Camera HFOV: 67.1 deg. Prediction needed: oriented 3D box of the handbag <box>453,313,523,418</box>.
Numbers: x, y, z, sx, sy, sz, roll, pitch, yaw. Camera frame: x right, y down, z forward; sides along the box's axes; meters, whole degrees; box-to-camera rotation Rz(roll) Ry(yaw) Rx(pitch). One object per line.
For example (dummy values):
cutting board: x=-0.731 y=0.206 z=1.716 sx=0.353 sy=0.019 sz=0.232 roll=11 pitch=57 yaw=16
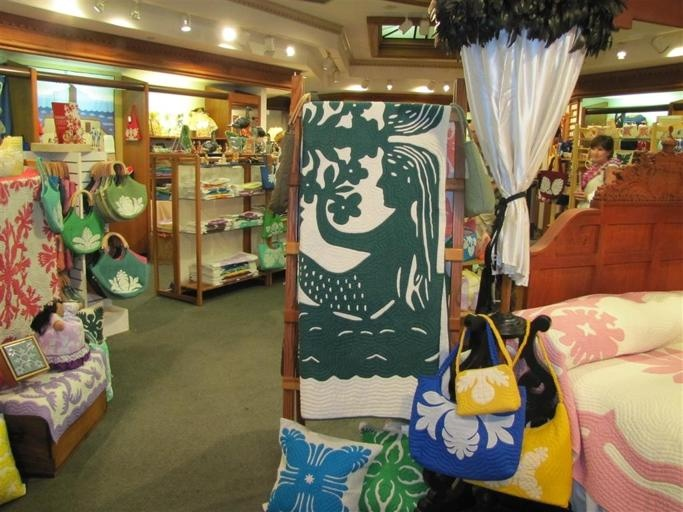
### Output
handbag: x=0.724 y=0.557 z=2.566 sx=0.309 sy=0.231 sz=0.515 roll=-8 pitch=43 yaw=14

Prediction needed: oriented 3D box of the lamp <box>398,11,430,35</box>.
lamp: x=0.986 y=-3.135 z=6.983 sx=0.376 sy=0.348 sz=0.866 roll=1 pitch=13 yaw=6

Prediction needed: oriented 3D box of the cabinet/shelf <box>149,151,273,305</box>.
cabinet/shelf: x=-1.442 y=-0.303 z=5.963 sx=0.605 sy=1.680 sz=1.625 roll=2 pitch=5 yaw=26

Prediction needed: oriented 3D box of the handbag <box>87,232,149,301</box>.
handbag: x=-1.981 y=0.111 z=4.411 sx=0.194 sy=0.544 sz=0.459 roll=-5 pitch=9 yaw=44

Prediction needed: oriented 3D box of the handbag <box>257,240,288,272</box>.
handbag: x=-0.835 y=0.011 z=6.123 sx=0.322 sy=0.330 sz=0.117 roll=-6 pitch=11 yaw=-41

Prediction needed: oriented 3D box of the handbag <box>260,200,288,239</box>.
handbag: x=-0.705 y=-0.362 z=5.246 sx=0.078 sy=0.378 sz=0.513 roll=6 pitch=15 yaw=33

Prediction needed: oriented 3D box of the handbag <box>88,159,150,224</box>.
handbag: x=-1.862 y=-0.478 z=4.236 sx=0.147 sy=0.492 sz=0.373 roll=-10 pitch=16 yaw=44
